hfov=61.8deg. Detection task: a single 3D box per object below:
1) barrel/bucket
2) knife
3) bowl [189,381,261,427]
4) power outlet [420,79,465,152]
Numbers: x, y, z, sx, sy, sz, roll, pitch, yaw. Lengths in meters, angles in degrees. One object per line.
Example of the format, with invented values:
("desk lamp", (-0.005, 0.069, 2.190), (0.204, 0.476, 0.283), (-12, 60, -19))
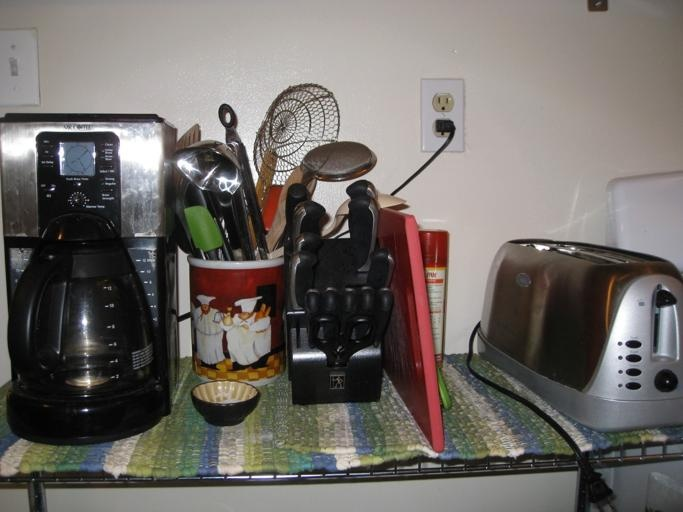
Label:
("barrel/bucket", (-0.198, 0.108, 1.149), (0.210, 0.251, 0.214), (-8, -3, 0))
("knife", (-0.005, 0.037, 1.017), (0.196, 0.344, 0.199), (0, 9, -5))
("bowl", (-0.202, 0.257, 0.988), (0.112, 0.057, 0.088), (-2, 10, -15))
("power outlet", (0.220, -0.304, 1.237), (0.095, 0.164, 0.017), (5, 38, 16))
